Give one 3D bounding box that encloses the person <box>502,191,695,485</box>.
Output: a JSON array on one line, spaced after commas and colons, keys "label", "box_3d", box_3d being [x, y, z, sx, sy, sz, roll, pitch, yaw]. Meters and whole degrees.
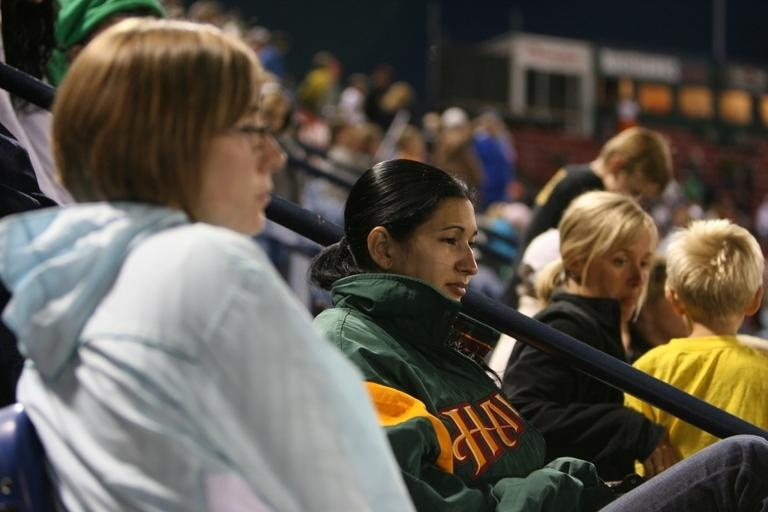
[{"label": "person", "box_3d": [1.013, 0.383, 6.664, 0.805, 1.357, 0.908, 12, 20, 42]}]
